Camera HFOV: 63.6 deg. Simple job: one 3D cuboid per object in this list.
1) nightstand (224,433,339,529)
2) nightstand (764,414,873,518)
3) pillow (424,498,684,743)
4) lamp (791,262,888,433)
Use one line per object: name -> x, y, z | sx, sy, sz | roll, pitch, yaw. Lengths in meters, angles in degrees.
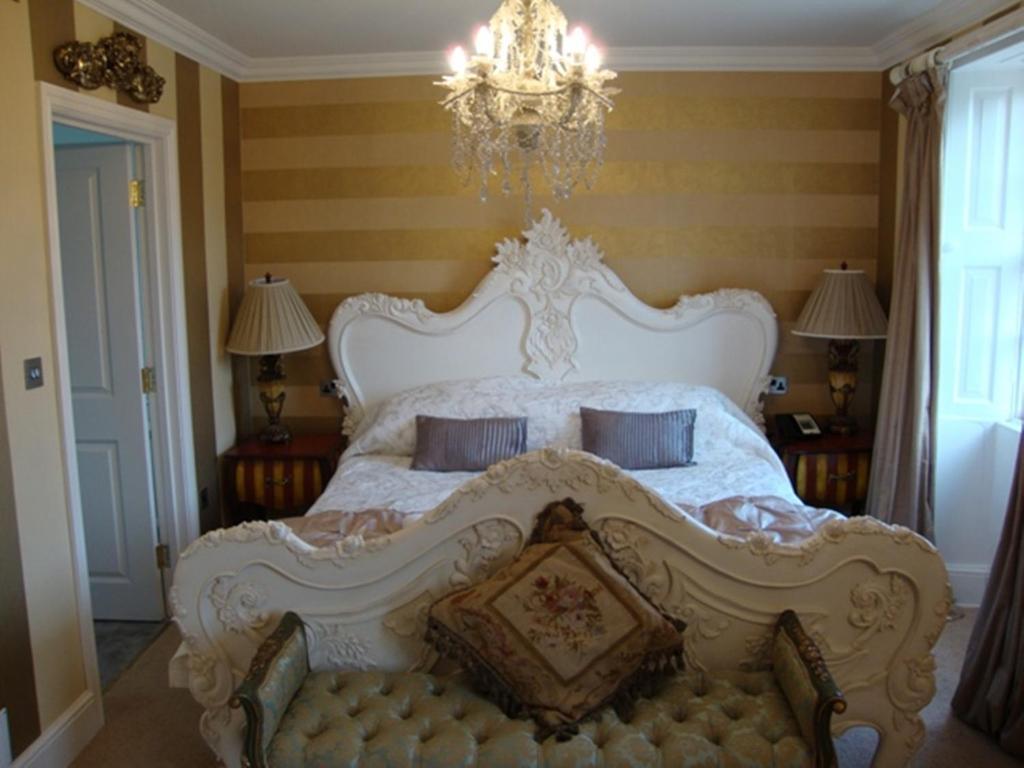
nightstand -> -1.298, 0.688, 4.782 | 0.557, 0.543, 0.449 | 0, -5, -7
nightstand -> 1.846, 0.538, 4.757 | 0.494, 0.515, 0.472 | -2, 14, 12
pillow -> 0.176, 0.883, 2.962 | 0.838, 0.191, 0.892 | 29, 44, 23
lamp -> 1.906, -0.196, 4.698 | 0.533, 0.943, 0.538 | 4, 7, 34
